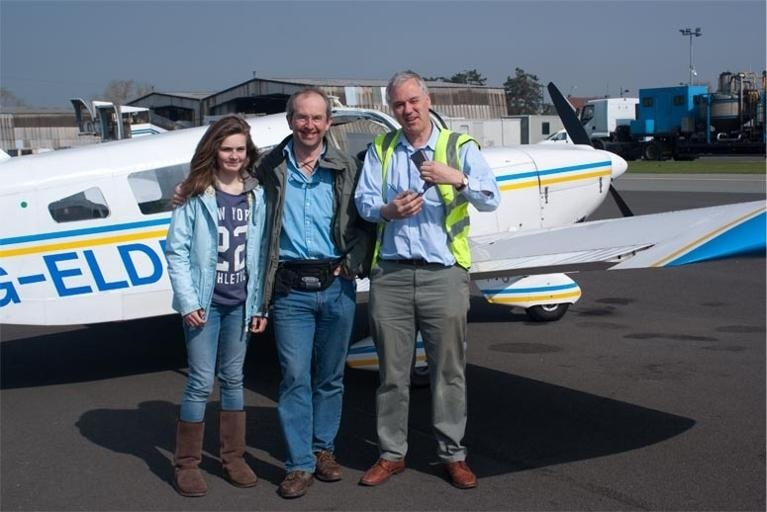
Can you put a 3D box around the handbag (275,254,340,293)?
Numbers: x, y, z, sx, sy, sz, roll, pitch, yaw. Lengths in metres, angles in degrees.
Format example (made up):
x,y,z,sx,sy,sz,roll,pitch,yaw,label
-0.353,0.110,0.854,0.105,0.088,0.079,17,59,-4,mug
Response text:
x,y,z,sx,sy,sz,roll,pitch,yaw,label
-0.520,0.129,4.578,0.451,0.221,0.105,-1,13,-1,handbag

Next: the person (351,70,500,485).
x,y,z,sx,sy,sz,roll,pitch,yaw,label
0.273,0.161,4.604,0.925,2.805,0.652,-1,13,3,person

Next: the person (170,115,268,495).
x,y,z,sx,sy,sz,roll,pitch,yaw,label
-1.138,0.329,4.578,0.727,2.533,0.575,-4,13,-10,person

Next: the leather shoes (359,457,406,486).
x,y,z,sx,sy,sz,roll,pitch,yaw,label
-0.015,1.510,4.742,0.340,0.153,0.136,-9,2,-38,leather shoes

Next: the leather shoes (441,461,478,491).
x,y,z,sx,sy,sz,roll,pitch,yaw,label
0.531,1.531,4.672,0.115,0.121,0.286,-4,1,-26,leather shoes
